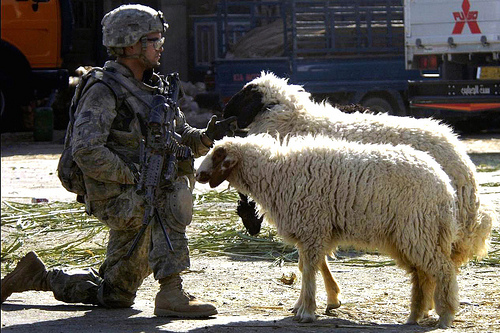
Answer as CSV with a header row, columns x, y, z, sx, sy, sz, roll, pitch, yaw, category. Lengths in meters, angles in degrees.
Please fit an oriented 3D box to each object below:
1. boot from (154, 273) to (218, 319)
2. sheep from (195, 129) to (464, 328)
x,y,z,sx,sy,sz,roll,pitch,yaw,category
-0.841,1.679,12.858,0.948,0.619,0.355,-1,-2,25,boot
1.178,0.844,13.246,2.633,1.817,0.820,1,4,11,sheep
